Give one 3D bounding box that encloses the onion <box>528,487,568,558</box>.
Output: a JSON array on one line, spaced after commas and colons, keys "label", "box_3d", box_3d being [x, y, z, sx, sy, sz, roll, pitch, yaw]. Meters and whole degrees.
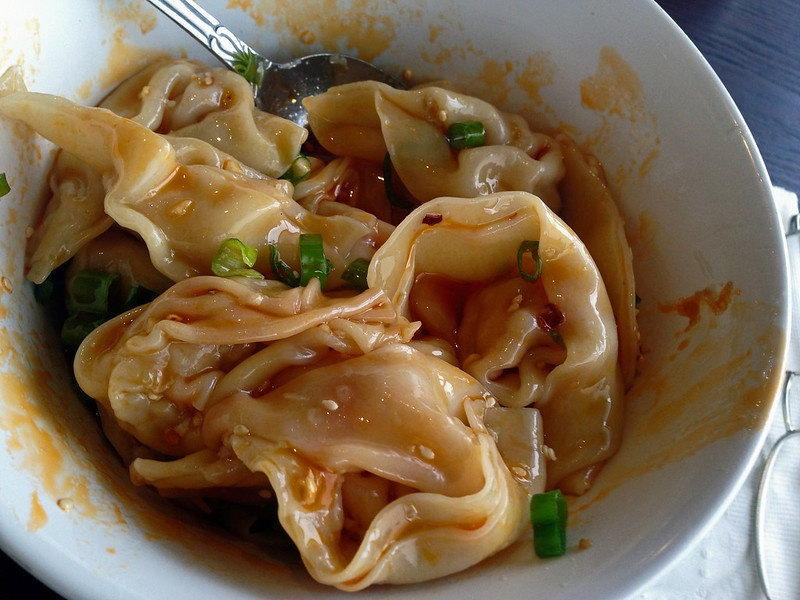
[{"label": "onion", "box_3d": [0.400, 0.611, 2.408, 0.053, 0.093, 0.126, 1, 31, 13]}]
